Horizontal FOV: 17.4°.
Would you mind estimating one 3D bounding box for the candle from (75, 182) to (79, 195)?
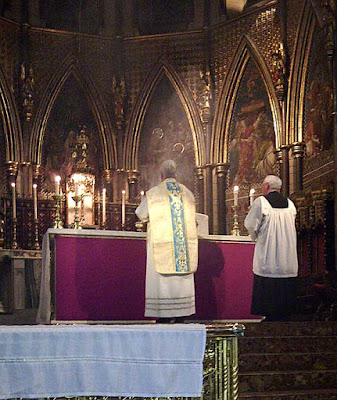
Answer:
[{"bbox_3d":[-1.043,-0.105,12.526,0.041,0.151,0.154,-1,-6,-7],"label":"candle"}]

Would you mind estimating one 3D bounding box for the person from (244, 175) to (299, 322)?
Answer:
[{"bbox_3d":[1.144,0.546,12.538,0.574,1.660,0.362,-2,-5,4],"label":"person"}]

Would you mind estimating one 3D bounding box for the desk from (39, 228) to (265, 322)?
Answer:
[{"bbox_3d":[0.293,1.104,13.313,2.562,1.252,0.759,1,10,-31],"label":"desk"}]

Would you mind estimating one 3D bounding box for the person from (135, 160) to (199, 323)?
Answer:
[{"bbox_3d":[0.011,0.423,12.176,0.597,1.739,0.443,-1,-5,-6],"label":"person"}]
